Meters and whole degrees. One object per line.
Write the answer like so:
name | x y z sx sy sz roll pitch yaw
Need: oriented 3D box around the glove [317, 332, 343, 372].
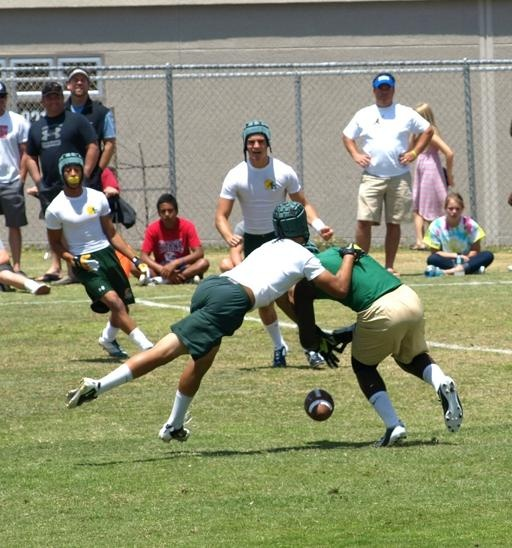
glove | 0.411 0.452 6.597 0.084 0.155 0.253 -20 -28 29

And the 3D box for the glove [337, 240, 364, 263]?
glove | 0.520 -0.135 6.305 0.092 0.062 0.141 -3 -11 25

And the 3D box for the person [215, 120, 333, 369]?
person | 0.123 -0.226 8.664 0.899 1.856 0.757 -2 4 -3

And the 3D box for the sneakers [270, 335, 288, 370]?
sneakers | 0.165 0.581 8.403 0.079 0.217 0.098 -6 -35 33

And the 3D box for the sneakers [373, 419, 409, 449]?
sneakers | 0.739 0.863 6.243 0.170 0.133 0.206 -4 6 5

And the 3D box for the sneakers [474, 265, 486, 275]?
sneakers | 2.423 -0.057 12.305 0.075 0.081 0.190 3 13 13

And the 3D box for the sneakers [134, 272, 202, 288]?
sneakers | -0.895 0.044 11.909 0.433 0.149 0.126 -6 3 12

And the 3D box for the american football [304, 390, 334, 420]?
american football | 0.370 0.714 6.411 0.150 0.175 0.154 -1 39 6

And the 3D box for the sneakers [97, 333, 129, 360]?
sneakers | -1.084 0.560 8.597 0.295 0.122 0.104 30 9 -9

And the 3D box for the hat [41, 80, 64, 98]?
hat | -1.923 -1.761 10.743 0.161 0.106 0.215 -10 -7 -8

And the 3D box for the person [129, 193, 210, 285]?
person | -0.912 -0.368 12.052 0.846 0.917 0.687 -4 6 -1

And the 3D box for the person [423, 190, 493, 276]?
person | 2.183 -0.400 12.233 0.757 0.869 0.927 -1 11 12

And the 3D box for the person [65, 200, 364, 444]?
person | -0.184 0.309 6.231 1.872 0.966 0.557 -27 16 -28

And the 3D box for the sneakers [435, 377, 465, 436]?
sneakers | 1.049 0.708 6.164 0.122 0.290 0.171 -13 -5 0

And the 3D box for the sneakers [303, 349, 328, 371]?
sneakers | 0.428 0.611 8.290 0.104 0.108 0.258 -6 -26 9

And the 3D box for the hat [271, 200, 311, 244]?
hat | 0.200 -0.289 6.522 0.194 0.229 0.250 12 20 35

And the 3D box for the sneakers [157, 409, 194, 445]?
sneakers | -0.442 0.854 6.373 0.095 0.121 0.252 9 19 20

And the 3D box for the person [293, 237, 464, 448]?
person | 0.696 0.361 6.481 0.633 1.046 1.273 -10 11 -36

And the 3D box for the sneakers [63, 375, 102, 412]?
sneakers | -0.921 0.630 6.139 0.196 0.162 0.090 -41 8 16

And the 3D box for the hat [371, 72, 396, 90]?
hat | 1.325 -1.999 11.747 0.211 0.168 0.283 -4 6 4

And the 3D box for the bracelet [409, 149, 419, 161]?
bracelet | 1.625 -1.220 11.581 0.061 0.140 0.115 8 2 -35

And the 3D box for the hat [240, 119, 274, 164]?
hat | 0.014 -1.007 8.506 0.322 0.354 0.398 1 8 4

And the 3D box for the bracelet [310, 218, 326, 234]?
bracelet | 0.484 -0.367 8.567 0.067 0.046 0.219 9 -8 41

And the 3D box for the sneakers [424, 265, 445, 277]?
sneakers | 1.903 -0.033 12.125 0.217 0.088 0.087 -2 19 -18
